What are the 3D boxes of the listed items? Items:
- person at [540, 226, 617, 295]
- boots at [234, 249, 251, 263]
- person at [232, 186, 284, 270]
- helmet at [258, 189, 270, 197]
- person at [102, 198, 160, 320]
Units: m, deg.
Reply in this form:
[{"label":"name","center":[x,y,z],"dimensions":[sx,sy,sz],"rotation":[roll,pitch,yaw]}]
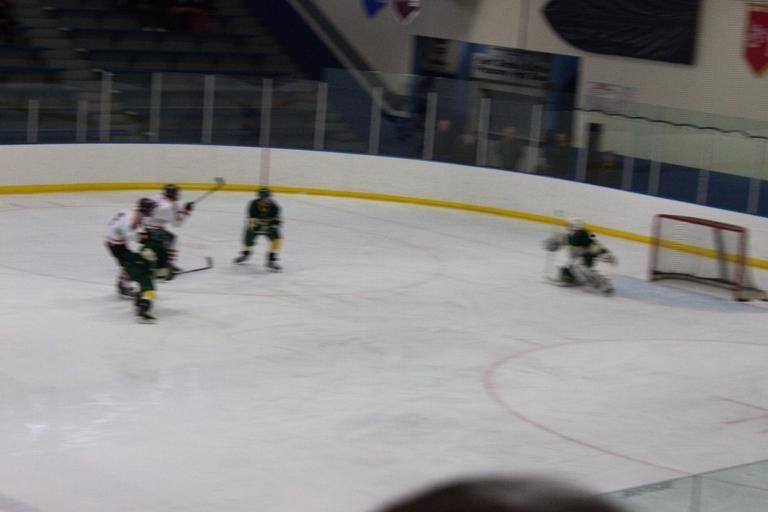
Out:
[{"label":"person","center":[2.533,-0.016,13.815],"dimensions":[0.939,0.921,0.952],"rotation":[3,8,7]},{"label":"boots","center":[-1.782,0.005,13.489],"dimensions":[0.262,0.064,0.163],"rotation":[-20,-20,11]},{"label":"person","center":[-1.545,-0.340,13.451],"dimensions":[0.595,1.019,0.456],"rotation":[2,10,-5]},{"label":"helmet","center":[-1.464,-0.776,13.276],"dimensions":[0.148,0.109,0.195],"rotation":[1,7,-7]},{"label":"person","center":[-2.711,0.027,11.585],"dimensions":[0.528,1.282,0.964],"rotation":[1,9,-11]}]
